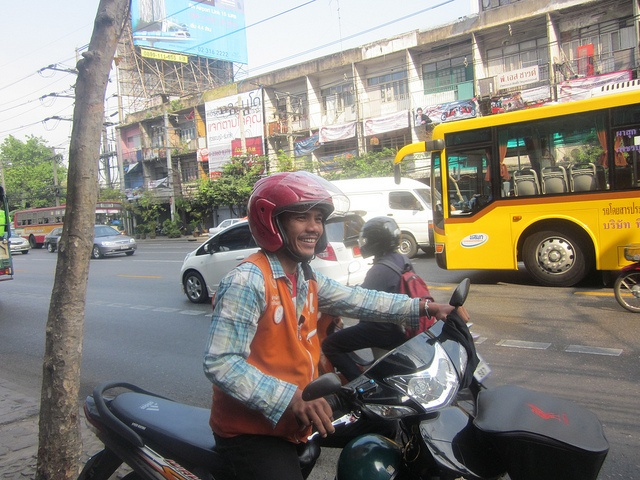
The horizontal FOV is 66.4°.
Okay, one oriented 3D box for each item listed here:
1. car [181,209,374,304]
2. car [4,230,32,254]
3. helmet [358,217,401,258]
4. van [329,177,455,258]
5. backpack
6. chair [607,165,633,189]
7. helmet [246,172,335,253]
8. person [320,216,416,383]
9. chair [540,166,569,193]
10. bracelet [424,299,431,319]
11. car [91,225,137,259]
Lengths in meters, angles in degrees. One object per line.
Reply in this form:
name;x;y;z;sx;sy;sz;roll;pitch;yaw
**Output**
car;-0.695;0.233;9.007;2.811;1.474;1.747;4;4;30
car;-16.712;0.114;27.427;3.547;1.314;1.456;-3;-2;42
helmet;0.461;-0.030;3.884;0.327;0.353;0.286;-1;10;11
van;1.444;-0.503;14.939;3.655;2.390;2.101;-1;-9;5
backpack;0.624;0.453;3.752;0.502;0.568;0.338;-1;5;34
chair;5.054;-1.055;8.248;0.331;0.396;0.163;-1;4;35
helmet;-0.168;-0.162;2.465;0.379;0.420;0.432;0;20;-39
person;0.068;0.420;3.737;0.696;1.124;1.081;-2;3;-41
chair;4.155;-1.127;8.855;0.408;0.617;0.423;4;17;33
bracelet;0.567;0.372;2.613;0.035;0.105;0.086;-1;8;1
car;-9.855;0.116;23.263;1.776;1.307;1.948;-6;4;-31
